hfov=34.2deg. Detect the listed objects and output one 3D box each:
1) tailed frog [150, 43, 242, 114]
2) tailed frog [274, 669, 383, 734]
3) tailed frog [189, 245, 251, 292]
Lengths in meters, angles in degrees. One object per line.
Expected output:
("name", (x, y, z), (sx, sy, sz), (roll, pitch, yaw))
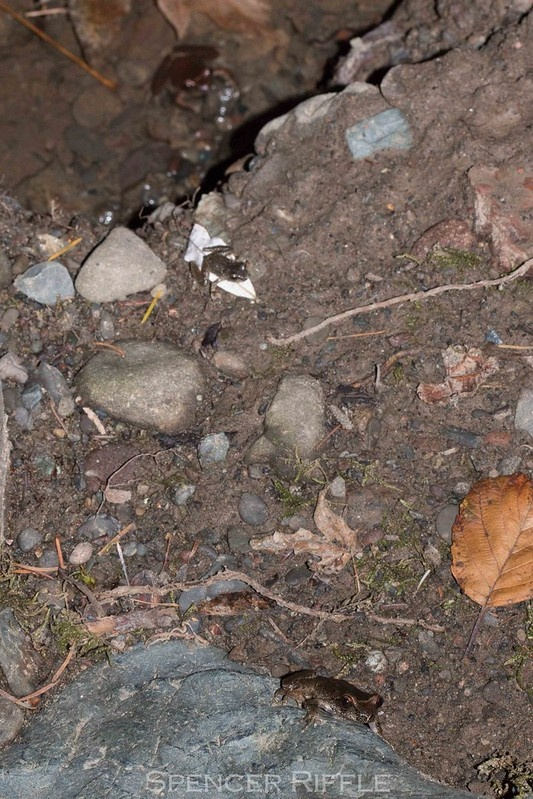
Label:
("tailed frog", (-0.353, -1.538, 4.164), (0.404, 0.242, 0.230), (-7, 52, -1))
("tailed frog", (0.265, 1.107, 3.392), (0.322, 0.092, 0.250), (20, 13, -26))
("tailed frog", (-0.193, -0.544, 3.532), (0.224, 0.118, 0.130), (-6, 51, -1))
